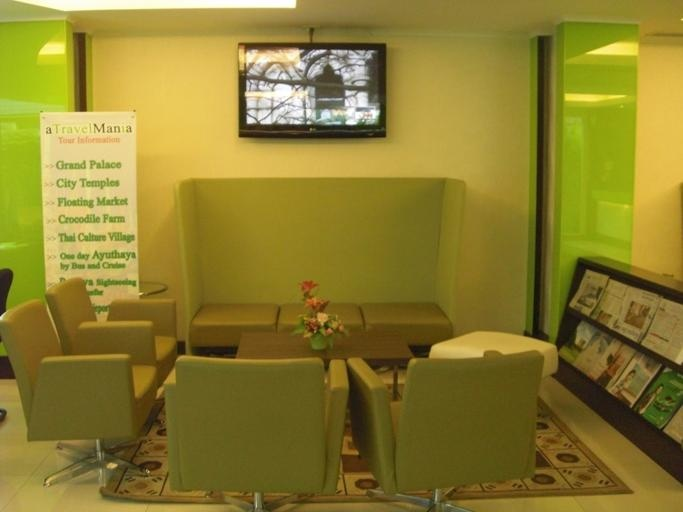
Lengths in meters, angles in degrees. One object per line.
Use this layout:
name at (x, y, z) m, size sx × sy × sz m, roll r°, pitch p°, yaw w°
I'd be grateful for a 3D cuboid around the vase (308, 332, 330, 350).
vase at (-0.170, 0.702, 4.583) m, size 0.156 × 0.146 × 0.144 m, roll -3°, pitch 12°, yaw -9°

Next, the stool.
stool at (1.309, 0.777, 4.764) m, size 0.749 × 0.218 × 0.686 m, roll -1°, pitch -2°, yaw -15°

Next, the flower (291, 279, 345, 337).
flower at (-0.174, 0.469, 4.757) m, size 0.478 × 0.476 × 0.475 m, roll 0°, pitch 11°, yaw 11°
